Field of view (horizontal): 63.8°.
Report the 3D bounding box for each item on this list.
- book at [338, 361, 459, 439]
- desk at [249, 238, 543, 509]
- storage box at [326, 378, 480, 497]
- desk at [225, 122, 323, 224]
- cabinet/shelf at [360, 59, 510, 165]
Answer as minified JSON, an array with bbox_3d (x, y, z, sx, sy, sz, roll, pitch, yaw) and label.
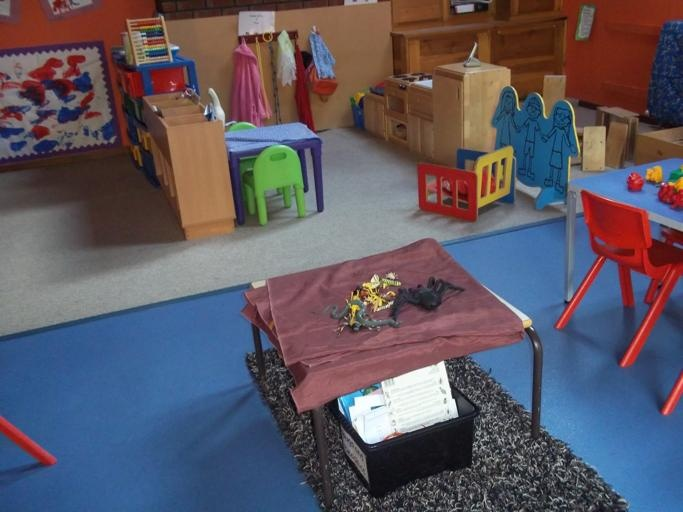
[{"bbox_3d":[0.250,0.649,2.332,0.350,0.117,0.366,-19,38,-15],"label":"book"},{"bbox_3d":[0.220,0.631,2.759,1.117,0.789,1.104,-17,43,-17],"label":"desk"},{"bbox_3d":[0.307,0.832,2.446,0.494,0.258,0.412,-13,31,-16],"label":"storage box"},{"bbox_3d":[-0.632,-1.069,5.447,0.863,0.827,0.998,-6,47,-3],"label":"desk"},{"bbox_3d":[0.939,-1.722,6.238,0.529,1.066,1.941,-20,32,-25],"label":"cabinet/shelf"}]
